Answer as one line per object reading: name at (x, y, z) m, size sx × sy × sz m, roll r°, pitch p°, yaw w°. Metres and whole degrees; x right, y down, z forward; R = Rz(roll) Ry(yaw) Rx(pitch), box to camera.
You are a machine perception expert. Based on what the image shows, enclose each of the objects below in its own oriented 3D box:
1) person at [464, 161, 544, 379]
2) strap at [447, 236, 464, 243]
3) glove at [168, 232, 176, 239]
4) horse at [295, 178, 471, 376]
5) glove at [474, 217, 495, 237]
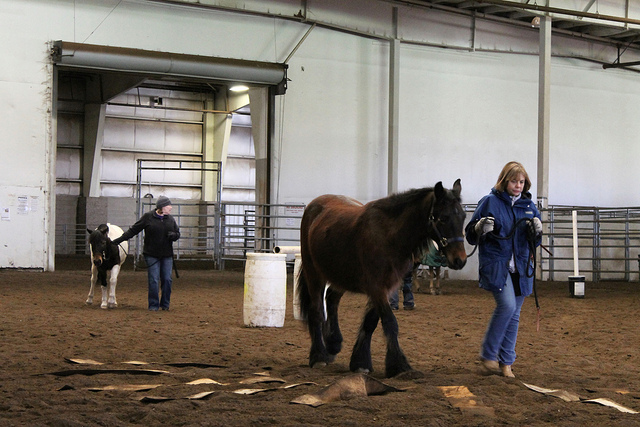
person at (3.098, 0.929, 13.066) m, size 1.187 × 3.591 × 0.453 m, roll 0°, pitch -1°, yaw -8°
strap at (2.204, 0.415, 12.736) m, size 0.250 × 0.103 × 0.063 m, roll 0°, pitch -1°, yaw -4°
glove at (-3.333, 0.472, 17.622) m, size 0.124 × 0.132 × 0.134 m, roll -1°, pitch -4°, yaw 30°
horse at (0.845, 1.140, 13.720) m, size 1.400 × 3.377 × 4.326 m, roll 1°, pitch 1°, yaw -36°
glove at (2.690, 0.187, 12.838) m, size 0.289 × 0.278 × 0.230 m, roll 5°, pitch -2°, yaw -2°
